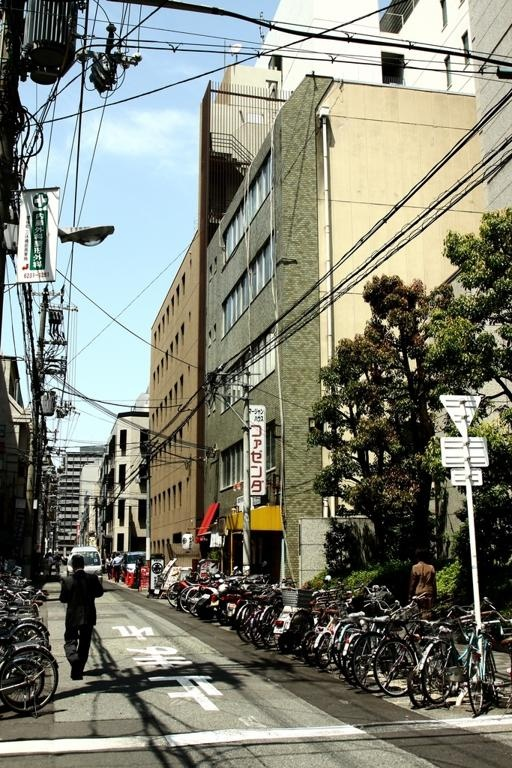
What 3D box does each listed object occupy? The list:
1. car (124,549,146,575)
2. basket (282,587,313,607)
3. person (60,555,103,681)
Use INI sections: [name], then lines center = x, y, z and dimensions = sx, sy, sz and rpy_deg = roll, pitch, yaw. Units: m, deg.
[car]
center = -7.139, 10.587, 51.798
dimensions = 1.341, 1.331, 2.451
rpy_deg = 2, -25, -13
[basket]
center = 0.639, 3.435, 14.032
dimensions = 0.341, 0.264, 0.349
rpy_deg = 7, -9, -37
[person]
center = -2.265, 3.003, 11.262
dimensions = 0.520, 1.561, 0.902
rpy_deg = 3, -13, -10
